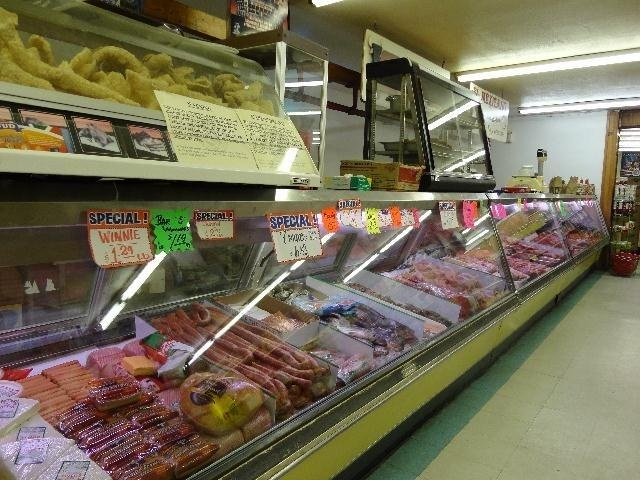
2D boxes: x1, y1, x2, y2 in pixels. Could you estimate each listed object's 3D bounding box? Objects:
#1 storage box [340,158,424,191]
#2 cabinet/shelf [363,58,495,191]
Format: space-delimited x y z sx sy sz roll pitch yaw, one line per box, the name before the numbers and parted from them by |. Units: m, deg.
storage box | 0.351 -0.382 2.366 0.473 0.164 0.284 4 11 6
cabinet/shelf | 0.774 -0.863 3.120 0.894 0.935 1.537 12 14 38
